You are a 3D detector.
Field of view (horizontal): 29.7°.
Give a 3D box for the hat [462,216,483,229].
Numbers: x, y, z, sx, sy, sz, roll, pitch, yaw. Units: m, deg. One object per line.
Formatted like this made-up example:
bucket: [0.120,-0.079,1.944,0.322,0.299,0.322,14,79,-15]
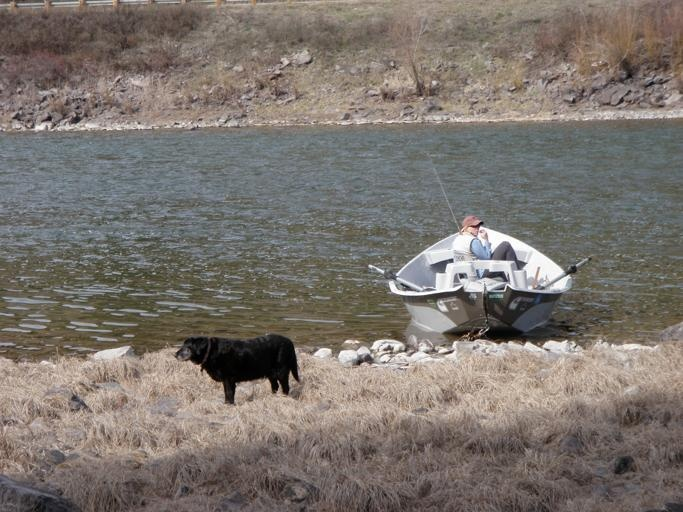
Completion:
hat: [4.158,-1.050,40.364,0.561,0.253,0.409,-6,-2,23]
